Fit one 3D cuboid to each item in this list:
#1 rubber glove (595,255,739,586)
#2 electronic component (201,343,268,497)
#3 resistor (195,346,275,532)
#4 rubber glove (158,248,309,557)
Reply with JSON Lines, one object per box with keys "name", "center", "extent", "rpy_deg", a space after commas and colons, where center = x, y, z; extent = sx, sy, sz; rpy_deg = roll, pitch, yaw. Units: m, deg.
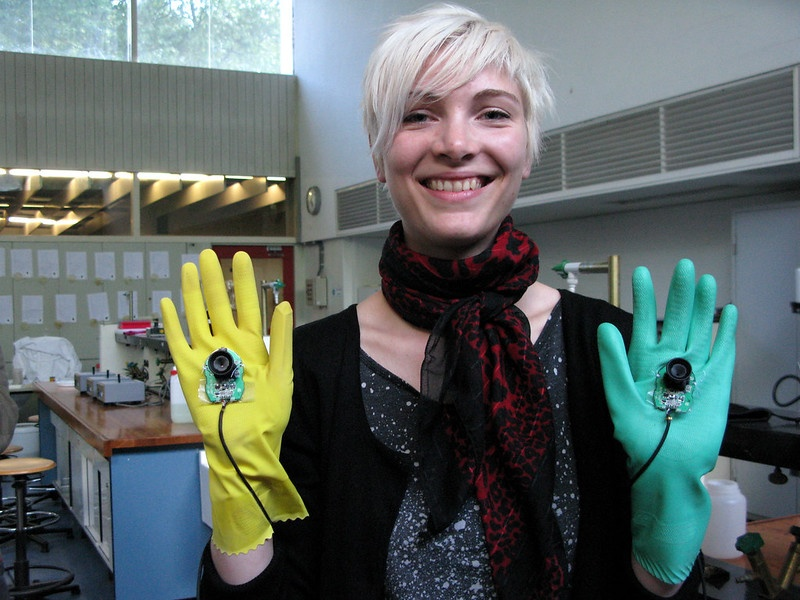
{"name": "rubber glove", "center": [0.474, 0.200, 1.253], "extent": [0.203, 0.634, 0.227], "rpy_deg": [6, 7, 14]}
{"name": "electronic component", "center": [-0.306, 0.229, 1.244], "extent": [0.087, 0.253, 0.126], "rpy_deg": [0, 4, -6]}
{"name": "resistor", "center": [-0.320, 0.231, 1.220], "extent": [0.103, 0.361, 0.036], "rpy_deg": [-8, -10, 0]}
{"name": "rubber glove", "center": [-0.326, 0.181, 1.272], "extent": [0.240, 0.566, 0.149], "rpy_deg": [-7, -16, -1]}
